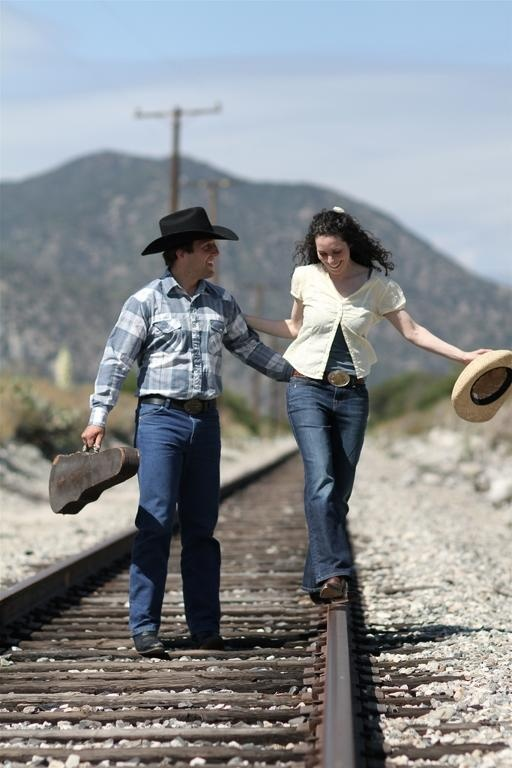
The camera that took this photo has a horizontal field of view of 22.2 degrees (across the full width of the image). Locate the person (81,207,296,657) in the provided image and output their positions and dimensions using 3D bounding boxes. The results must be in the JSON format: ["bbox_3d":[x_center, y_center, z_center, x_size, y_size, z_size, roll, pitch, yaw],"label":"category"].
[{"bbox_3d":[-0.299,0.245,5.601,0.760,1.945,1.131,4,19,7],"label":"person"}]

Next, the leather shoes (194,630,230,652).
[{"bbox_3d":[-0.194,1.089,5.543,0.102,0.097,0.262,1,-1,-1],"label":"leather shoes"}]

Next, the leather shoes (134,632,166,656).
[{"bbox_3d":[-0.432,1.077,5.379,0.104,0.088,0.155,-7,20,-23],"label":"leather shoes"}]

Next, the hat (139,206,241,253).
[{"bbox_3d":[-0.304,-0.672,5.640,0.418,0.152,0.332,-12,4,-20],"label":"hat"}]
